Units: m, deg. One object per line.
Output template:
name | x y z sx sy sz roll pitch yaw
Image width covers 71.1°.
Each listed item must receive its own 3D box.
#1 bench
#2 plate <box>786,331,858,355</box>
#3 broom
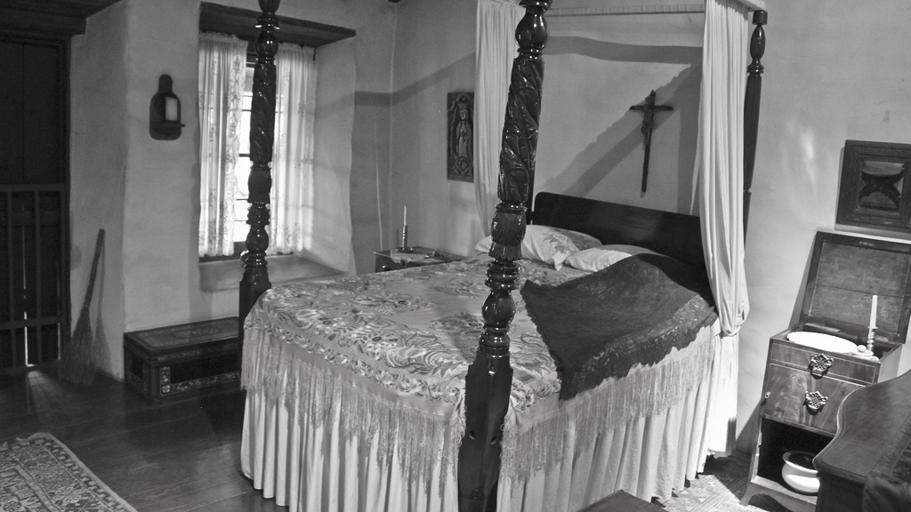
bench | -2.919 1.115 6.832 1.114 0.673 0.594 -3 10 -30
plate | 3.180 0.748 5.565 0.277 0.035 0.269 -8 19 -35
broom | -4.075 0.532 6.853 0.488 1.620 0.458 3 9 5
